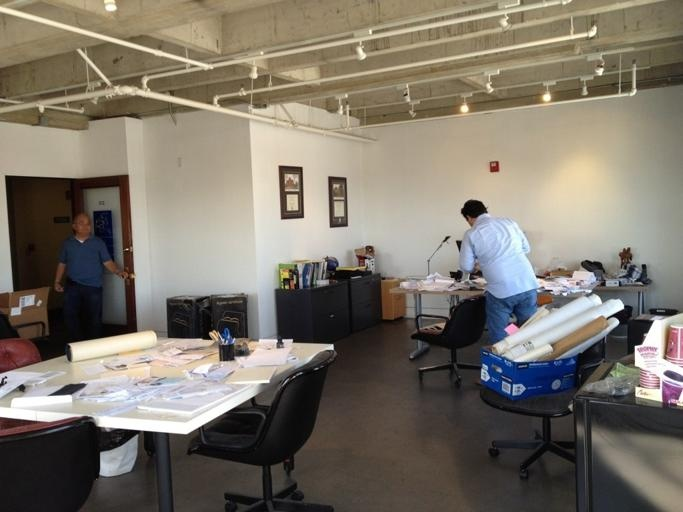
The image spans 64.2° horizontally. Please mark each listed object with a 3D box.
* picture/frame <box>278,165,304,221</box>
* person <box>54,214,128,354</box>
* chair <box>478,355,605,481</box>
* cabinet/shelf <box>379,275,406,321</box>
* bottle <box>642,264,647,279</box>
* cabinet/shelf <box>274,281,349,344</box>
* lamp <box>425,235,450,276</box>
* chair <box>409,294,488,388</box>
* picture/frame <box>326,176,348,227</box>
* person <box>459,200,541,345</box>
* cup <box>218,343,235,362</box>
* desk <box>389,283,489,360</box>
[{"bbox_3d":[-0.738,-0.902,7.680,0.074,0.994,0.778,2,6,29],"label":"picture/frame"},{"bbox_3d":[-3.460,0.329,7.424,0.783,1.822,1.177,-6,8,-27],"label":"person"},{"bbox_3d":[1.387,0.991,3.753,0.638,0.819,0.627,2,1,28],"label":"chair"},{"bbox_3d":[0.785,0.708,9.053,0.359,0.582,0.627,-1,0,18],"label":"cabinet/shelf"},{"bbox_3d":[4.146,0.198,7.459,0.078,0.184,0.258,2,8,29],"label":"bottle"},{"bbox_3d":[-0.467,0.544,7.610,0.753,0.884,1.245,-1,4,25],"label":"cabinet/shelf"},{"bbox_3d":[1.570,-0.030,8.848,0.475,1.013,0.271,-1,25,6],"label":"lamp"},{"bbox_3d":[1.170,0.861,5.833,0.736,0.864,0.813,-4,3,-26],"label":"chair"},{"bbox_3d":[-0.097,-0.878,8.708,0.068,0.959,0.842,1,3,26],"label":"picture/frame"},{"bbox_3d":[1.522,0.211,5.321,0.724,1.227,0.303,0,8,18],"label":"person"},{"bbox_3d":[-0.761,0.634,3.605,0.111,0.119,0.112,0,-1,0],"label":"cup"},{"bbox_3d":[1.194,0.932,6.993,1.244,0.884,0.964,0,2,11],"label":"desk"}]
